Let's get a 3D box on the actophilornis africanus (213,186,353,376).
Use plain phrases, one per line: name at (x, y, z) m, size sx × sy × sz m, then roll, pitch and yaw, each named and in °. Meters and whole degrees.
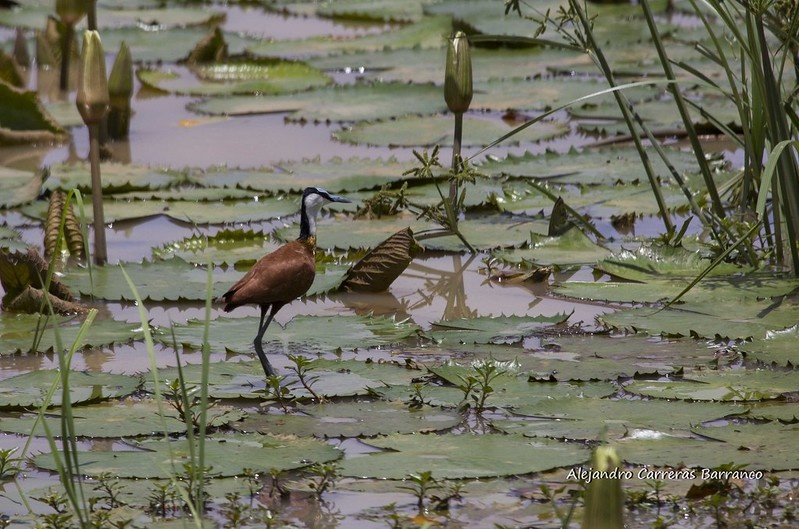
actophilornis africanus at (-0.567, -0.067, 5.724) m, size 0.319 × 0.578 × 0.740 m, roll -3°, pitch 5°, yaw 23°
